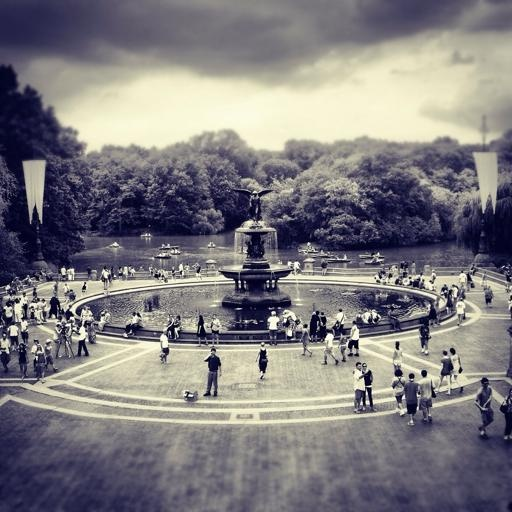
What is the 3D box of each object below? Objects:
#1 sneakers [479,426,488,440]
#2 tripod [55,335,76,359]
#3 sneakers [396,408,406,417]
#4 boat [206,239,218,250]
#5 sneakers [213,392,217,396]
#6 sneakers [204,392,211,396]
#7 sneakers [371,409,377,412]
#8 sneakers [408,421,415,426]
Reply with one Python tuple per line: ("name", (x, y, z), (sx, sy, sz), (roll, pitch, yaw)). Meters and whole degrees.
("sneakers", (6.037, 4.723, 16.907), (0.127, 0.270, 0.392), (1, 6, 16))
("tripod", (-7.992, 3.857, 26.379), (0.952, 1.351, 1.012), (2, -1, -22))
("sneakers", (4.201, 4.567, 18.499), (0.206, 0.097, 0.224), (1, 4, 21))
("boat", (-6.562, -1.489, 91.750), (1.518, 0.965, 1.545), (0, 1, 0))
("sneakers", (-1.306, 4.417, 20.233), (0.109, 0.199, 0.114), (3, -2, -3))
("sneakers", (-1.557, 4.423, 20.232), (0.235, 0.166, 0.084), (3, 1, 11))
("sneakers", (3.503, 4.583, 18.925), (0.170, 0.065, 0.270), (0, 6, 8))
("sneakers", (4.328, 4.675, 17.728), (0.178, 0.105, 0.193), (1, 6, 13))
